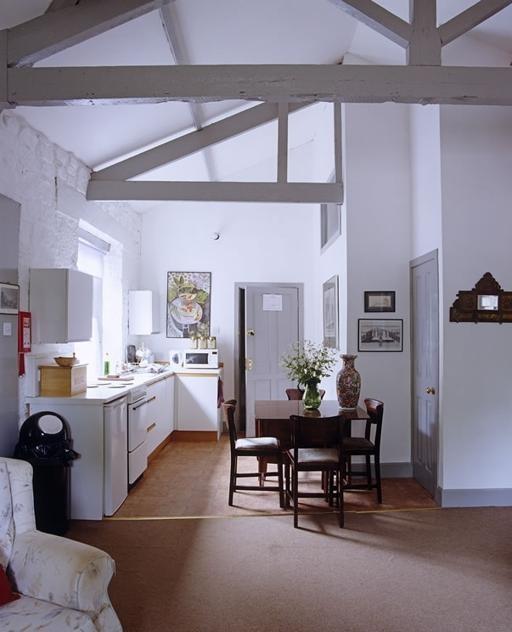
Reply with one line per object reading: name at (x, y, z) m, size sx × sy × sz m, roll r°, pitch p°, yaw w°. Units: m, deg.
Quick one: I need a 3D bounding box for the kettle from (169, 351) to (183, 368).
kettle at (-0.939, 0.519, 6.168) m, size 0.222 × 0.267 × 0.135 m, roll 0°, pitch -9°, yaw -4°

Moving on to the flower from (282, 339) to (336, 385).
flower at (0.537, 0.467, 5.115) m, size 0.441 × 0.593 × 0.497 m, roll 1°, pitch -8°, yaw -4°

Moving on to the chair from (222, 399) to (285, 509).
chair at (0.016, 1.046, 4.206) m, size 0.579 × 1.219 × 0.652 m, roll -1°, pitch -1°, yaw 2°

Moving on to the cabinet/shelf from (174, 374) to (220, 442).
cabinet/shelf at (-0.620, 1.097, 6.313) m, size 0.553 × 1.063 × 0.659 m, roll 1°, pitch -3°, yaw 5°

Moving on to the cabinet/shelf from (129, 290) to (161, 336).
cabinet/shelf at (-1.418, 0.063, 6.419) m, size 0.349 × 0.833 × 0.773 m, roll -1°, pitch -3°, yaw -3°

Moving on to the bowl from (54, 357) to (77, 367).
bowl at (-1.376, 0.330, 3.667) m, size 0.085 × 0.042 × 0.095 m, roll -2°, pitch -8°, yaw 14°

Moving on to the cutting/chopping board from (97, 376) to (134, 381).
cutting/chopping board at (-1.287, 0.580, 4.698) m, size 0.345 × 0.026 × 0.328 m, roll 0°, pitch -1°, yaw 0°

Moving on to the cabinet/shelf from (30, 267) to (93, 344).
cabinet/shelf at (-1.377, -0.076, 3.764) m, size 0.246 × 0.560 × 0.572 m, roll 0°, pitch 0°, yaw 18°

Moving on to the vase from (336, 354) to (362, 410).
vase at (0.753, 0.546, 4.126) m, size 0.187 × 0.465 × 0.205 m, roll -3°, pitch -17°, yaw 20°
